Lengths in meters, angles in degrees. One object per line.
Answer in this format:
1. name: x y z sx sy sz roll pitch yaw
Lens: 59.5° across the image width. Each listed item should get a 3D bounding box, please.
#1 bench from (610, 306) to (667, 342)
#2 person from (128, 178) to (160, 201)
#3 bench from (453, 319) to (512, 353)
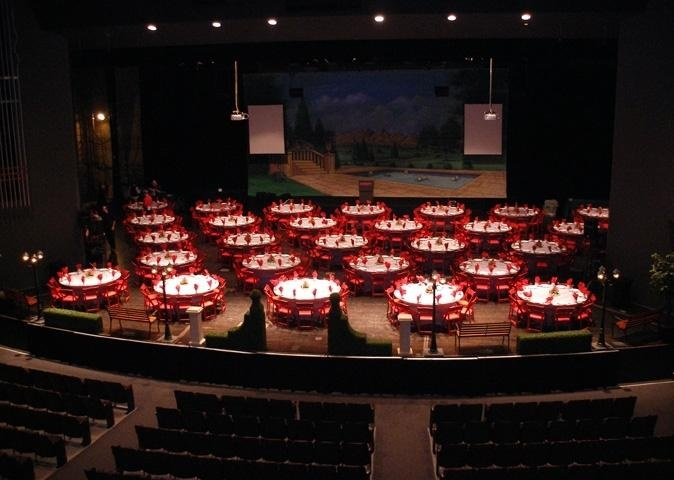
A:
1. bench: 8.556 2.418 16.824 1.417 0.826 0.897 -5 15 -10
2. person: -10.090 -2.636 31.047 1.843 0.678 1.367 8 14 32
3. bench: 4.071 2.627 16.474 1.690 0.897 1.048 -4 15 -6
